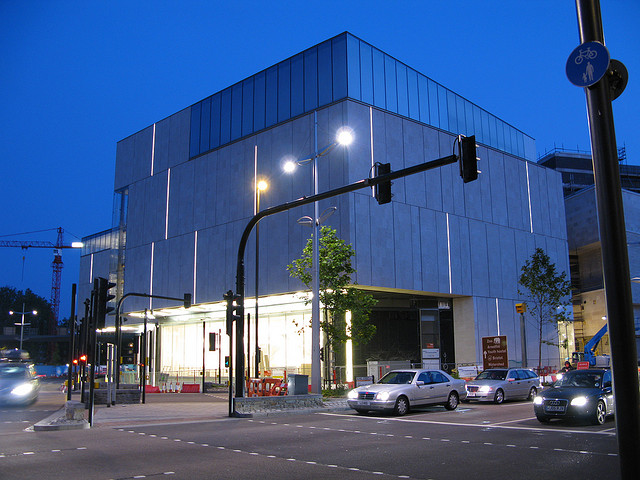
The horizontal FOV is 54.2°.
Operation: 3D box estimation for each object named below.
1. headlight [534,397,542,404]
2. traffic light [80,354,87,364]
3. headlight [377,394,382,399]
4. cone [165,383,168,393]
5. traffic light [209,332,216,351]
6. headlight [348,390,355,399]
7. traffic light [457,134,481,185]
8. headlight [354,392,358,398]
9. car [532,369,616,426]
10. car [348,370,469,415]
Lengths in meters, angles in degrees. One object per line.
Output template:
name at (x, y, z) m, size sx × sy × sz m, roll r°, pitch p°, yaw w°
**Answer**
headlight at (7.327, 5.402, 20.984) m, size 0.150 × 0.202 × 0.374 m, roll 2°, pitch -14°, yaw -17°
traffic light at (-12.315, 6.199, 32.480) m, size 0.320 × 0.563 × 1.431 m, roll 3°, pitch -14°, yaw -21°
headlight at (2.354, 6.237, 24.891) m, size 0.208 × 0.239 × 0.123 m, roll -2°, pitch -15°, yaw 4°
cone at (-13.271, 12.669, 53.926) m, size 0.239 × 0.602 × 1.540 m, roll 1°, pitch -14°, yaw -13°
traffic light at (-4.441, 4.157, 25.734) m, size 0.218 × 0.749 × 1.440 m, roll 1°, pitch -14°, yaw -14°
headlight at (1.316, 6.470, 26.050) m, size 0.234 × 0.298 × 0.672 m, roll -1°, pitch -13°, yaw -2°
traffic light at (4.067, -2.279, 17.158) m, size 0.604 × 1.485 × 0.537 m, roll -9°, pitch -13°, yaw 31°
headlight at (1.479, 6.396, 25.754) m, size 0.206 × 0.237 × 0.121 m, roll -8°, pitch -18°, yaw 22°
car at (8.643, 5.280, 20.979) m, size 2.678 × 1.812 × 1.506 m, roll 3°, pitch -13°, yaw -21°
car at (3.739, 6.415, 26.398) m, size 4.864 × 1.799 × 1.732 m, roll 7°, pitch -15°, yaw -34°
